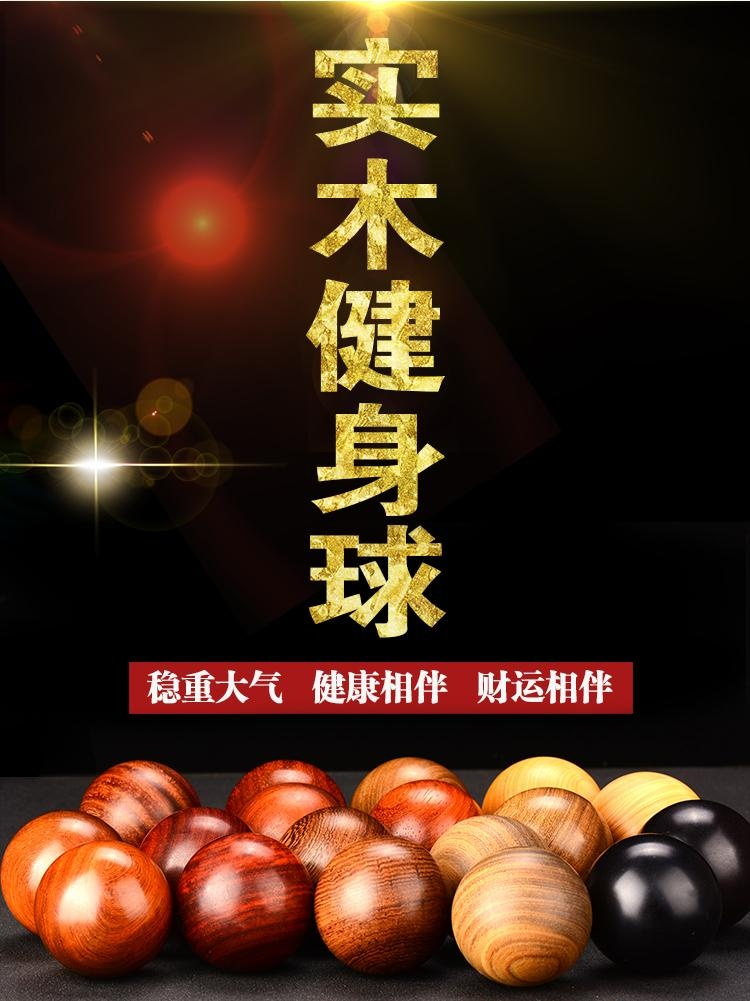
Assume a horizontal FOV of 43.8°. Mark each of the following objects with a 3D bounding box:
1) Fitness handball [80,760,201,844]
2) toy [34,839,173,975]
[{"bbox_3d":[-0.388,0.463,1.536,0.144,0.116,0.135,-5,10,-35],"label":"Fitness handball"},{"bbox_3d":[-0.350,0.535,1.189,0.161,0.187,0.119,1,-3,29],"label":"toy"}]
